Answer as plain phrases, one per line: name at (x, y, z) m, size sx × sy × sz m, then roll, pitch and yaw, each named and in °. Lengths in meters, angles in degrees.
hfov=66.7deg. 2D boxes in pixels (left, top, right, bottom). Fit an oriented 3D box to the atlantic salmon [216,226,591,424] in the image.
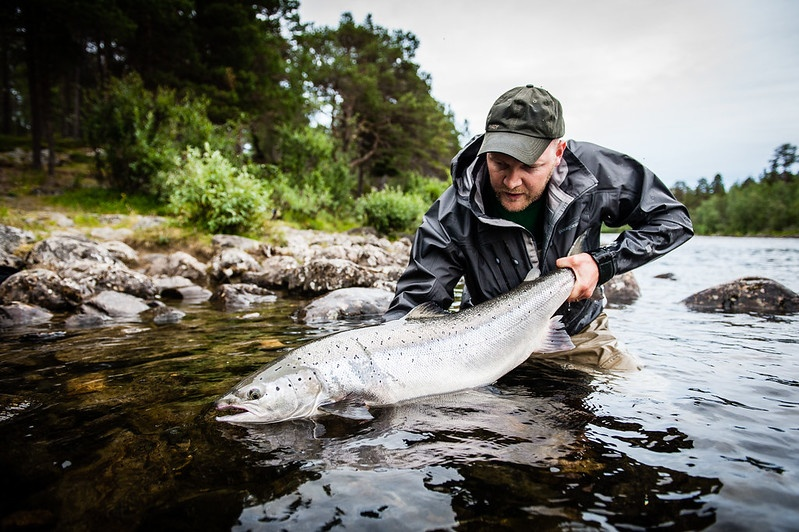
atlantic salmon at (0.030, 0.772, 7.627) m, size 5.042 × 1.114 × 0.975 m, roll -15°, pitch 19°, yaw -9°
